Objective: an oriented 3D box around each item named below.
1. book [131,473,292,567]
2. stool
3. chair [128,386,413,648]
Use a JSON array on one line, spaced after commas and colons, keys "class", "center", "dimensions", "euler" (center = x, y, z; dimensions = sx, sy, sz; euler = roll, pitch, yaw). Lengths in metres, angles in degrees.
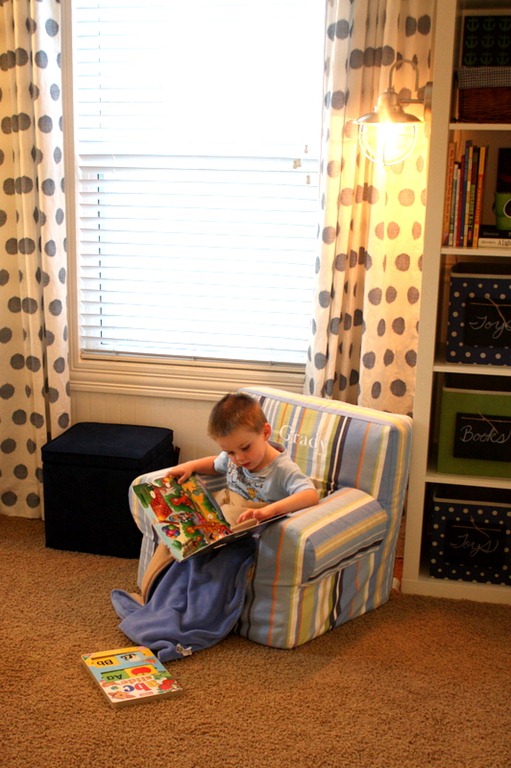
[{"class": "book", "center": [-0.157, 0.345, 1.531], "dimensions": [0.233, 0.104, 0.309], "euler": [-9, 48, -46]}, {"class": "stool", "center": [-0.565, 0.367, 2.330], "dimensions": [0.413, 0.467, 0.450], "euler": [4, 17, 11]}, {"class": "chair", "center": [0.063, 0.311, 1.776], "dimensions": [0.608, 0.674, 0.738], "euler": [-15, 24, -42]}]
